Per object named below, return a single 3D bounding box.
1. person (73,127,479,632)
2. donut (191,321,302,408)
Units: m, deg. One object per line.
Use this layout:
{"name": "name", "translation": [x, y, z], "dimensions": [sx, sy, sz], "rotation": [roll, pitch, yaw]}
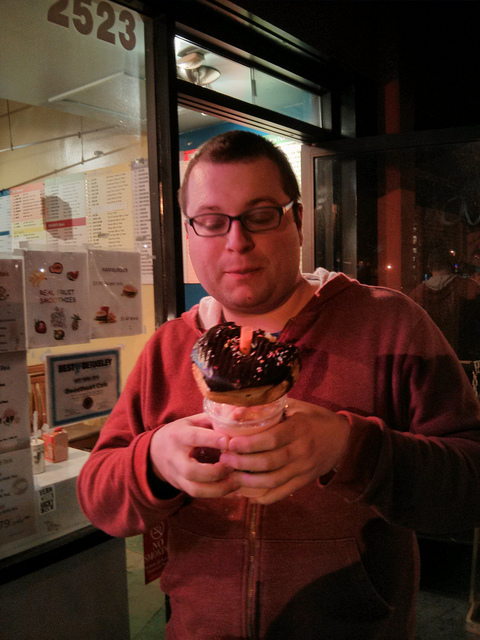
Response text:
{"name": "person", "translation": [0.074, 0.206, 1.605], "dimensions": [0.939, 1.576, 0.926], "rotation": [-5, 4, -31]}
{"name": "donut", "translation": [-0.003, 0.105, 1.263], "dimensions": [0.211, 0.177, 0.237], "rotation": [-6, 5, -42]}
